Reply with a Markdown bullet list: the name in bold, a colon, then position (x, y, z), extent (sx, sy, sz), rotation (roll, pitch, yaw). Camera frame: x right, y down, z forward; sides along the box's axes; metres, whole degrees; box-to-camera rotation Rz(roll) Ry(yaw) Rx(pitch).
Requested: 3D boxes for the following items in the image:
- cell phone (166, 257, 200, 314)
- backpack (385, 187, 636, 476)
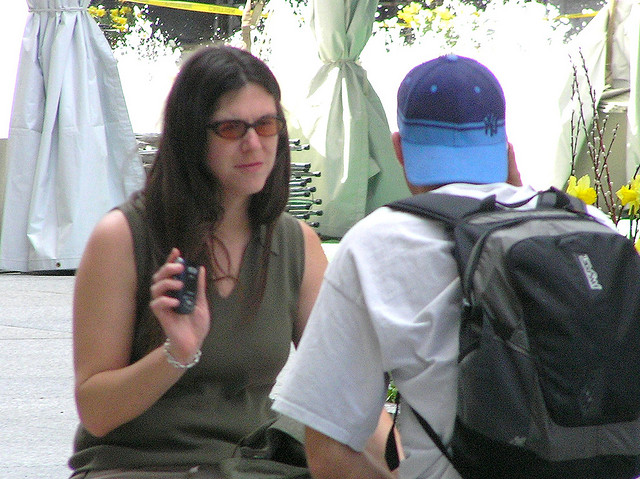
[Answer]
- **cell phone**: position (-0.473, 0.159, 3.545), extent (0.112, 0.184, 0.074), rotation (0, 8, -8)
- **backpack**: position (0.663, 0.309, 3.316), extent (0.718, 0.894, 0.303), rotation (2, 8, 6)
